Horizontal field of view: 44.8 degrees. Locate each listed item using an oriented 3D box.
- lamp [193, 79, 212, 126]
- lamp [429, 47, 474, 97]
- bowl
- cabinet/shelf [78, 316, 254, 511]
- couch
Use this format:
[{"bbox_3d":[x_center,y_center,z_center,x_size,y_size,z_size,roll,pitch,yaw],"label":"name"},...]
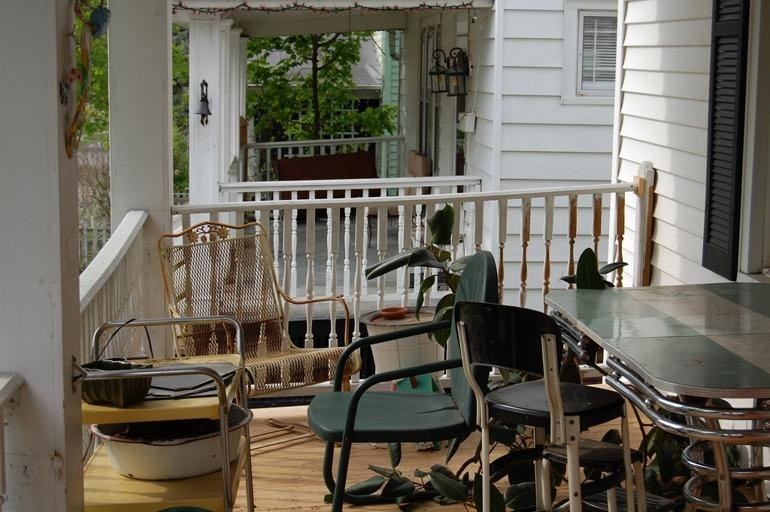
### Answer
[{"bbox_3d":[-1.567,-1.318,8.034,0.131,0.401,0.177,-4,8,-8],"label":"lamp"},{"bbox_3d":[0.652,-1.762,8.968,0.361,0.492,0.710,-3,5,-21],"label":"lamp"},{"bbox_3d":[-0.972,0.869,4.194,0.429,0.159,0.426,-3,3,0],"label":"bowl"},{"bbox_3d":[-0.991,0.656,4.400,0.766,1.065,1.073,1,2,-5],"label":"cabinet/shelf"},{"bbox_3d":[-0.637,-0.759,10.641,1.083,0.771,1.959,-2,7,3],"label":"couch"}]
